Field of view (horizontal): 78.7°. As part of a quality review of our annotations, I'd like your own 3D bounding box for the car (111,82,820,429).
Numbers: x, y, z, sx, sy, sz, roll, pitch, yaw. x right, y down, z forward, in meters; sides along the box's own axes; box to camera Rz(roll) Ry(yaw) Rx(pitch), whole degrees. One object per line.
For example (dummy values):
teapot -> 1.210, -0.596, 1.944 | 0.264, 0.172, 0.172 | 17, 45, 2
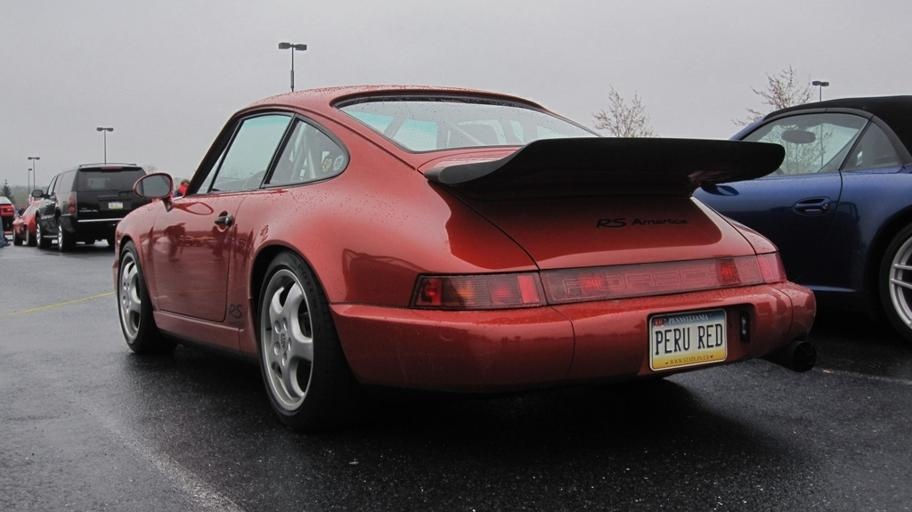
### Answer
car -> -0.653, -0.138, 4.527 | 2.682, 1.413, 4.497 | 1, 5, -38
